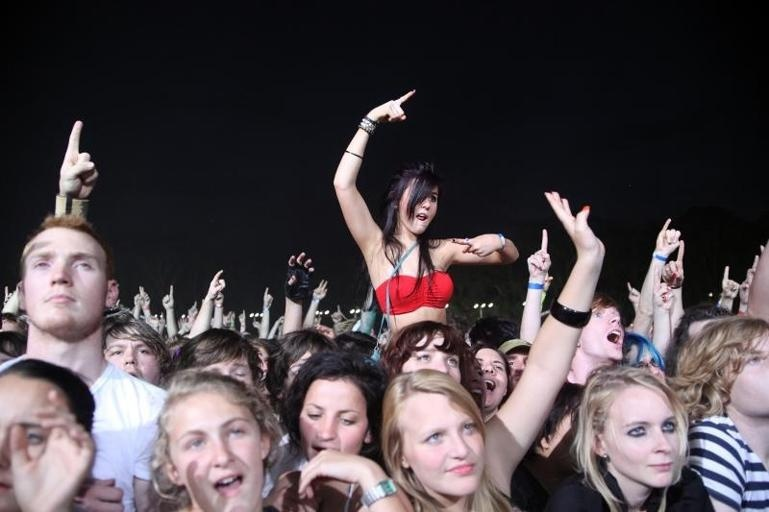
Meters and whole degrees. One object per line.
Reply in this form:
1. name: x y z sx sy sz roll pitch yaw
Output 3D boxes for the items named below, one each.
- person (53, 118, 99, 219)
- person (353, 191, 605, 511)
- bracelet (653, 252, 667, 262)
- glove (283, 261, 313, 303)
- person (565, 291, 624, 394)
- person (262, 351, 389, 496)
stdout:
1. person: -2.203 -0.612 4.196 0.241 0.861 0.639 7 -13 -30
2. person: 0.665 0.563 3.624 1.323 1.942 0.443 1 -10 4
3. bracelet: 2.677 0.017 5.681 0.109 0.085 0.186 -3 -13 21
4. glove: -0.887 0.263 5.950 0.233 0.424 0.324 4 -11 -13
5. person: 1.820 0.684 5.326 0.482 0.928 0.512 0 -1 2
6. person: -0.364 1.127 4.055 0.797 1.163 0.786 5 -39 2
